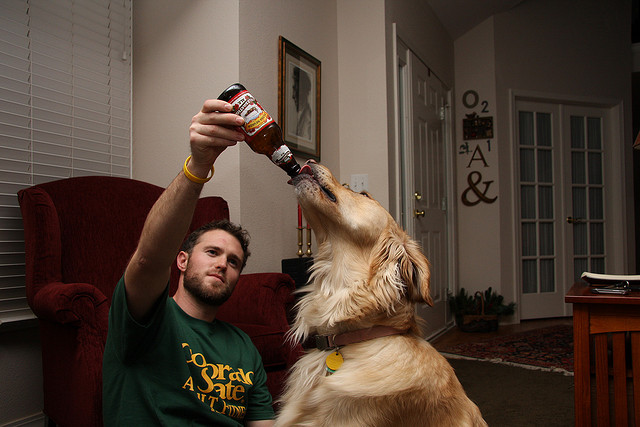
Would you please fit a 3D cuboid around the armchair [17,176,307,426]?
[{"bbox_3d":[-1.032,0.401,3.041,1.538,1.988,1.518,11,-27,-43],"label":"armchair"}]

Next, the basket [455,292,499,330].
[{"bbox_3d":[2.160,1.359,5.940,0.472,0.478,0.509,1,-12,6],"label":"basket"}]

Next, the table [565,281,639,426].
[{"bbox_3d":[1.771,0.887,2.650,0.371,0.559,0.405,-2,-2,36],"label":"table"}]

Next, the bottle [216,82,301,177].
[{"bbox_3d":[-0.246,-0.363,1.850,0.178,0.326,0.486,-2,-2,30],"label":"bottle"}]

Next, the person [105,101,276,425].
[{"bbox_3d":[-0.531,0.321,1.983,0.752,1.476,0.664,-2,-2,33],"label":"person"}]

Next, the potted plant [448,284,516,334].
[{"bbox_3d":[2.255,1.387,6.036,0.834,0.621,0.733,-8,-19,39],"label":"potted plant"}]
